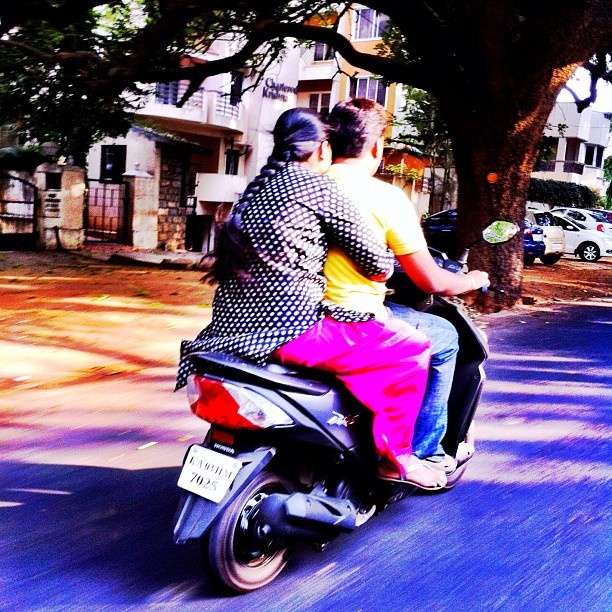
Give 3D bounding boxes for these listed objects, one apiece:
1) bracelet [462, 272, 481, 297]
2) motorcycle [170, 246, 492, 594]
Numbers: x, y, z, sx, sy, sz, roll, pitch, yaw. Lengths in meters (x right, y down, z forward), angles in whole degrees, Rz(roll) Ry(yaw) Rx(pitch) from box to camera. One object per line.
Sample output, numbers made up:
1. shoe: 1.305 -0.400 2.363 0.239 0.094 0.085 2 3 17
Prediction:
1. bracelet: 0.782 -0.111 3.065 0.077 0.076 0.148 -13 14 31
2. motorcycle: 0.266 0.423 3.081 0.948 1.295 2.408 2 5 32
